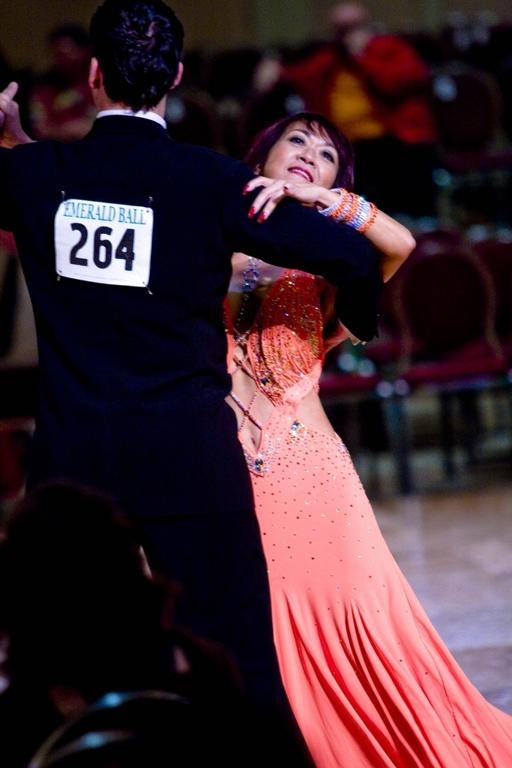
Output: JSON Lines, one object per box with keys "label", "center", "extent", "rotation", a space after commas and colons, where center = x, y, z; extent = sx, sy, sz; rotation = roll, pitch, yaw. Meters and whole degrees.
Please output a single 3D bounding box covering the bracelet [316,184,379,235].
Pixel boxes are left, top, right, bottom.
{"label": "bracelet", "center": [0.122, -0.244, 1.111], "extent": [0.063, 0.030, 0.076], "rotation": [7, 17, -43]}
